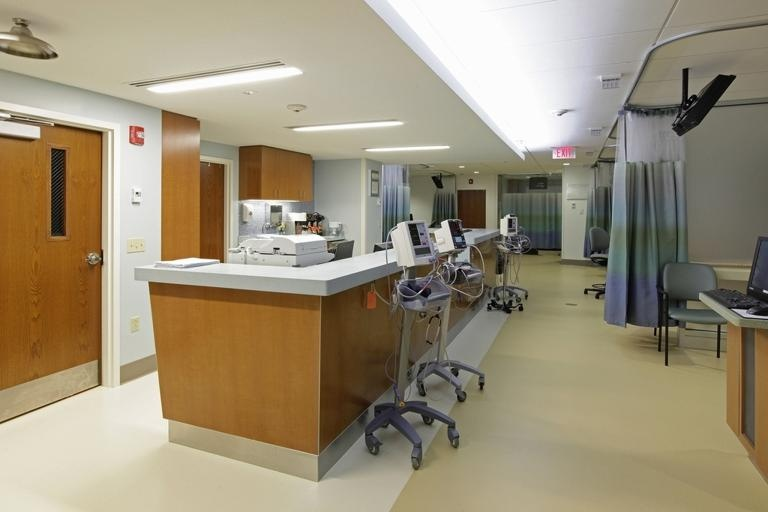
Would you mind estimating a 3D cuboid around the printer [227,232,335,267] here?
[{"bbox_3d":[-0.977,-0.065,4.526,0.815,0.274,0.498,1,8,23],"label":"printer"}]

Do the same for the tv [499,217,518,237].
[{"bbox_3d":[2.108,-0.514,8.235,0.251,0.374,0.400,1,7,19],"label":"tv"}]

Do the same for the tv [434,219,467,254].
[{"bbox_3d":[0.681,-0.190,4.919,0.291,0.370,0.352,-12,-1,25],"label":"tv"}]

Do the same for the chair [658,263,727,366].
[{"bbox_3d":[3.495,0.645,5.536,0.720,1.132,0.761,0,2,40],"label":"chair"}]

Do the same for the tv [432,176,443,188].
[{"bbox_3d":[1.685,-2.369,15.417,0.376,0.399,0.635,-1,7,5],"label":"tv"}]

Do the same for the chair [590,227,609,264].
[{"bbox_3d":[4.143,-0.208,9.410,0.307,0.696,1.725,1,8,24],"label":"chair"}]

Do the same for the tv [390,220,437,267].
[{"bbox_3d":[0.246,-0.098,4.149,0.266,0.380,0.210,-6,-7,-44],"label":"tv"}]
